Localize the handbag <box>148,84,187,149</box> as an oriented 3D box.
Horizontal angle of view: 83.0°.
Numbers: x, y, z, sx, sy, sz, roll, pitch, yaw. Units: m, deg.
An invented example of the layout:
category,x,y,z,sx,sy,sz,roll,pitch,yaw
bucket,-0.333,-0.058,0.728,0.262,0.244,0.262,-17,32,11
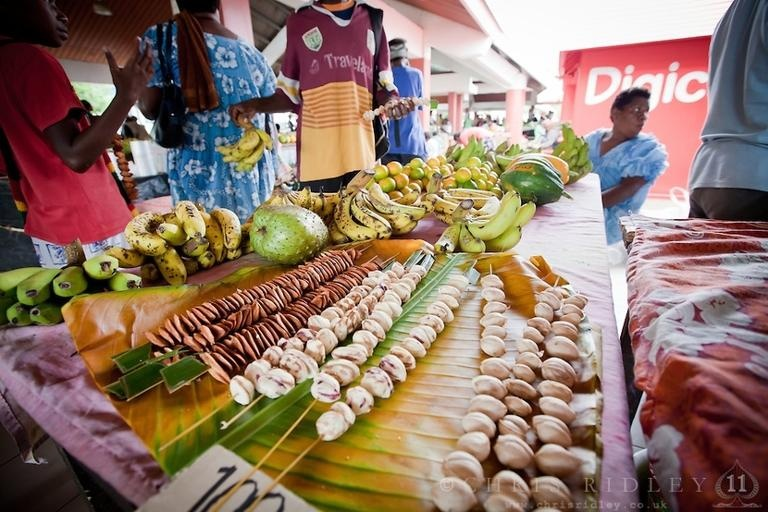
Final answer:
category,x,y,z,sx,sy,sz,roll,pitch,yaw
handbag,-1.197,-0.790,2.397,0.117,0.263,0.242,-2,53,-16
